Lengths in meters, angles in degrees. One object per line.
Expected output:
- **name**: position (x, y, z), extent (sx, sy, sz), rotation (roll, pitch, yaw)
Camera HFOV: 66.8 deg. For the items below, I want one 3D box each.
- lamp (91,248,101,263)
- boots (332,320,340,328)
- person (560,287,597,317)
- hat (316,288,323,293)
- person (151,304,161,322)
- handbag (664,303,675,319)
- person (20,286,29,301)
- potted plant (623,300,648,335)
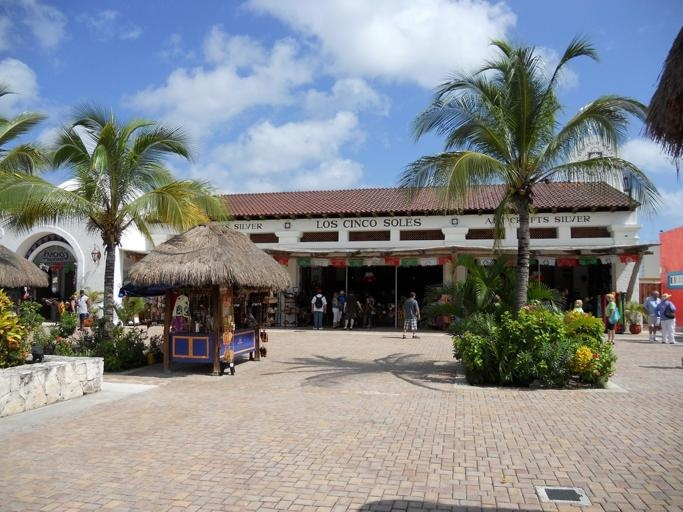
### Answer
- **lamp**: position (-12.309, -0.087, 26.107), extent (0.433, 0.742, 0.740), rotation (0, 1, -25)
- **boots**: position (-0.269, 3.312, 25.785), extent (0.210, 0.485, 0.447), rotation (-2, 7, 1)
- **person**: position (10.319, 1.942, 22.543), extent (1.207, 0.936, 0.701), rotation (0, 12, 13)
- **hat**: position (-1.166, 1.702, 26.355), extent (0.266, 0.130, 0.386), rotation (3, -9, -9)
- **person**: position (-9.078, 2.785, 25.514), extent (0.432, 0.808, 0.362), rotation (0, 1, -22)
- **handbag**: position (12.177, 2.011, 19.296), extent (0.322, 0.583, 0.211), rotation (0, 1, -6)
- **person**: position (-15.067, 1.731, 24.766), extent (0.336, 0.612, 1.891), rotation (-1, 1, -32)
- **potted plant**: position (12.891, 2.713, 22.950), extent (0.822, 1.264, 0.924), rotation (-3, -5, 14)
